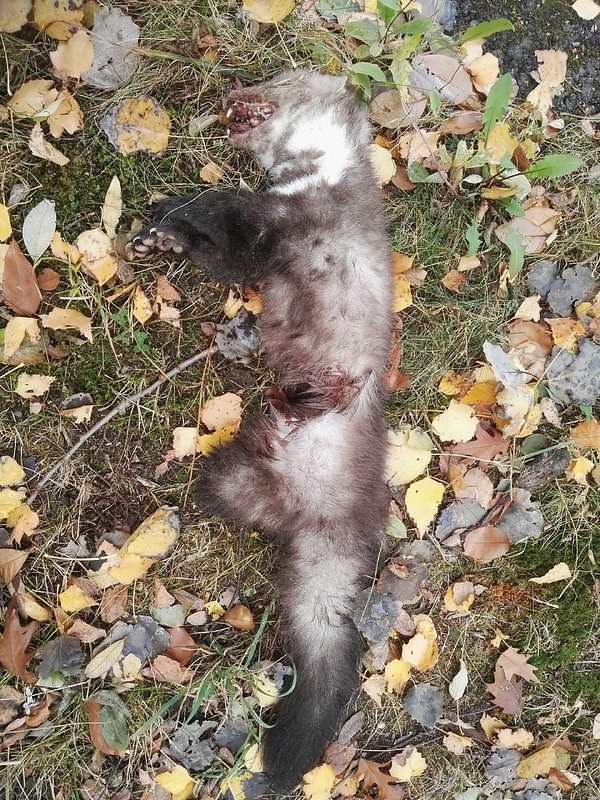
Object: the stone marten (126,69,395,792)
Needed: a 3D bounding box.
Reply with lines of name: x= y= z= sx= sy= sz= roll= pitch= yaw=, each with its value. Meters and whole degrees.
stone marten: x=-0.049 y=-0.002 z=3.240 sx=0.739 sy=0.520 sz=2.480 roll=-2 pitch=80 yaw=-3
